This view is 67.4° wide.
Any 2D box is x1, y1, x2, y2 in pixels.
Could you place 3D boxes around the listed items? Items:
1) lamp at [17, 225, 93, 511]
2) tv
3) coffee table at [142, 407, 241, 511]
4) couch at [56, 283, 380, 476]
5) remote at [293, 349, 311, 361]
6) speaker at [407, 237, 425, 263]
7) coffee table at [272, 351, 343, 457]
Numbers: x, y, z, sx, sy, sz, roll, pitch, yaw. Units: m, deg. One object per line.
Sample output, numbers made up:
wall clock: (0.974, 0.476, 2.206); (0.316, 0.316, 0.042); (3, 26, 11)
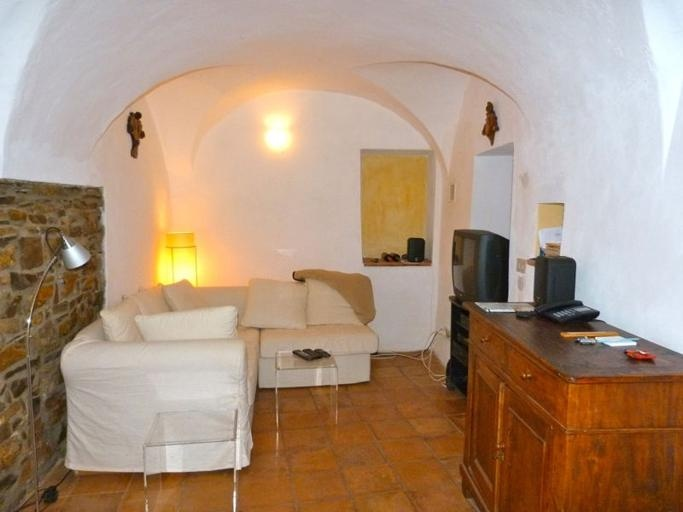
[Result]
lamp: (-1.756, 0.622, 3.148); (0.395, 1.649, 0.745); (-6, 12, -33)
tv: (1.168, 0.098, 4.249); (0.280, 0.626, 0.611); (-1, 10, -9)
coffee table: (-0.838, 1.056, 3.065); (0.556, 0.577, 0.592); (0, 5, -8)
couch: (-0.928, 1.039, 3.564); (1.410, 0.662, 1.496); (-1, 7, -8)
remote: (-0.331, 0.809, 4.202); (0.059, 0.043, 0.168); (-3, 3, -27)
speaker: (0.843, -0.071, 5.813); (0.190, 0.266, 0.111); (1, 10, 2)
coffee table: (-0.290, 1.174, 4.049); (0.514, 0.749, 0.673); (0, 2, -7)
